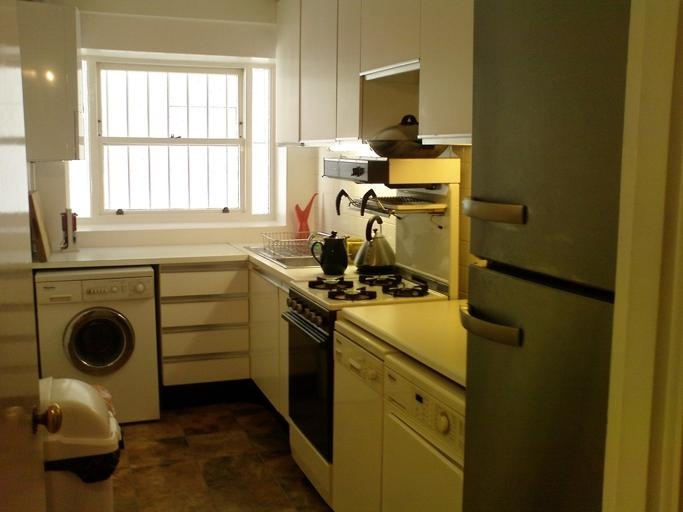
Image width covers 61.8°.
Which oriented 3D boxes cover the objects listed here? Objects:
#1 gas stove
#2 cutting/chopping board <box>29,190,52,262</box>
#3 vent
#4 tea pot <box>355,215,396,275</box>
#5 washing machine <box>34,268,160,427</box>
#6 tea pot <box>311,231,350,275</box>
[{"bbox_3d":[0.057,0.134,2.969,0.643,0.124,0.757,-3,7,-26],"label":"gas stove"},{"bbox_3d":[-1.907,-0.196,3.598,0.051,0.365,0.395,-2,14,-13],"label":"cutting/chopping board"},{"bbox_3d":[0.190,-0.435,2.938,0.541,0.155,0.893,-2,10,-29],"label":"vent"},{"bbox_3d":[0.192,-0.082,3.284,0.234,0.334,0.269,-2,6,-26],"label":"tea pot"},{"bbox_3d":[-1.675,0.594,3.966,0.613,1.025,0.733,-2,7,-22],"label":"washing machine"},{"bbox_3d":[-0.011,-0.003,3.379,0.276,0.291,0.173,-2,6,-24],"label":"tea pot"}]
